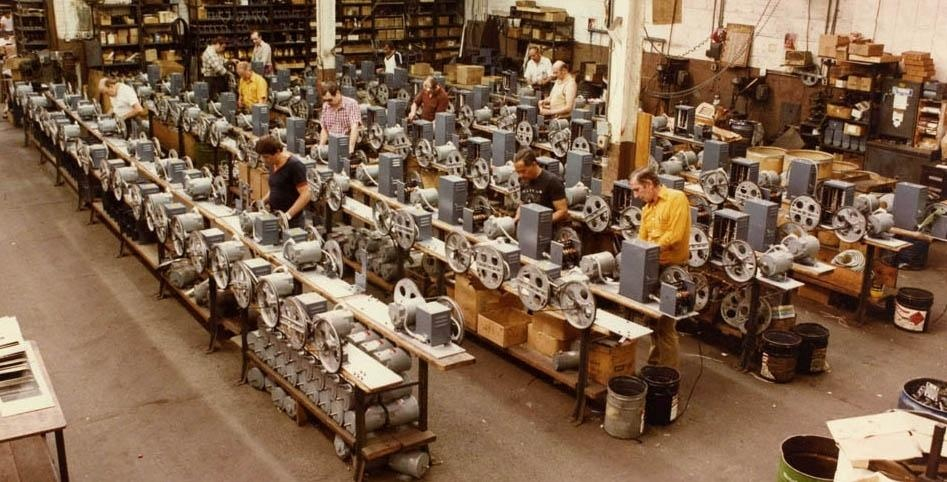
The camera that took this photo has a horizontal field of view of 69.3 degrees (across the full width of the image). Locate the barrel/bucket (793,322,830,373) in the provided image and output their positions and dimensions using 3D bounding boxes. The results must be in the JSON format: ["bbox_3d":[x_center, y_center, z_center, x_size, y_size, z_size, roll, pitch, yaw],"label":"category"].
[{"bbox_3d":[5.442,1.747,11.067,0.550,0.507,0.546,-3,25,1],"label":"barrel/bucket"}]

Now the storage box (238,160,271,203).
[{"bbox_3d":[-4.171,-1.141,13.212,0.289,0.789,0.891,-12,22,-42],"label":"storage box"}]

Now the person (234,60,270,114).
[{"bbox_3d":[-5.038,-3.491,15.607,0.658,1.090,1.265,-9,22,-17],"label":"person"}]

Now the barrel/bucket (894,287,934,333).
[{"bbox_3d":[7.697,1.229,12.008,0.533,0.526,0.522,-5,24,2],"label":"barrel/bucket"}]

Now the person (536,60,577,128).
[{"bbox_3d":[1.890,-3.370,15.566,0.761,1.364,1.027,0,21,5],"label":"person"}]

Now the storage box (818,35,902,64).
[{"bbox_3d":[8.857,-4.449,15.889,1.578,0.618,0.701,8,23,24],"label":"storage box"}]

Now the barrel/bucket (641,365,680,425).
[{"bbox_3d":[2.767,2.314,10.173,0.658,0.600,0.587,-12,21,-25],"label":"barrel/bucket"}]

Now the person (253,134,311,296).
[{"bbox_3d":[-3.037,-0.985,11.074,0.673,1.456,0.850,-15,25,-30],"label":"person"}]

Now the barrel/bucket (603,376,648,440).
[{"bbox_3d":[2.237,2.454,10.129,0.605,0.763,0.549,5,22,16],"label":"barrel/bucket"}]

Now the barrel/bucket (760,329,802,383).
[{"bbox_3d":[4.889,1.839,11.025,0.632,0.713,0.501,1,21,7],"label":"barrel/bucket"}]

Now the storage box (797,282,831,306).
[{"bbox_3d":[6.322,0.995,12.676,0.632,0.347,0.405,23,4,28],"label":"storage box"}]

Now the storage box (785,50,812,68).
[{"bbox_3d":[8.103,-4.553,17.051,0.560,0.372,0.444,15,25,41],"label":"storage box"}]

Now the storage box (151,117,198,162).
[{"bbox_3d":[-6.668,-2.292,15.467,1.302,0.534,0.697,27,32,30],"label":"storage box"}]

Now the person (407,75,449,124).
[{"bbox_3d":[-0.998,-3.159,15.311,0.794,0.994,1.252,-8,22,-16],"label":"person"}]

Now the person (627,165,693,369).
[{"bbox_3d":[2.891,0.452,10.533,0.795,3.076,0.877,-8,22,-15],"label":"person"}]

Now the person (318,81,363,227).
[{"bbox_3d":[-2.623,-2.397,13.464,0.827,1.345,1.383,-6,21,-10],"label":"person"}]

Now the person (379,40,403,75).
[{"bbox_3d":[-2.259,-5.137,19.072,0.485,0.752,1.443,-4,21,-7],"label":"person"}]
